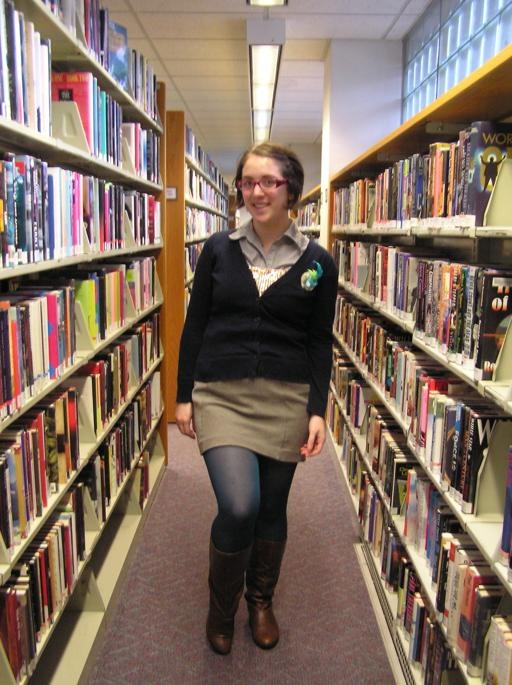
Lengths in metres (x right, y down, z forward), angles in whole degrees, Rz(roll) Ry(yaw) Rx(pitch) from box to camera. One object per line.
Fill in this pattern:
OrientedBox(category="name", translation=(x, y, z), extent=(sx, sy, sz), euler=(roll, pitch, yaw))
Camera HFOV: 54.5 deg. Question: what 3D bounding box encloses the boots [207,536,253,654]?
OrientedBox(category="boots", translation=(-0.083, 0.786, 1.541), extent=(0.122, 0.485, 0.338), euler=(4, 42, -3))
